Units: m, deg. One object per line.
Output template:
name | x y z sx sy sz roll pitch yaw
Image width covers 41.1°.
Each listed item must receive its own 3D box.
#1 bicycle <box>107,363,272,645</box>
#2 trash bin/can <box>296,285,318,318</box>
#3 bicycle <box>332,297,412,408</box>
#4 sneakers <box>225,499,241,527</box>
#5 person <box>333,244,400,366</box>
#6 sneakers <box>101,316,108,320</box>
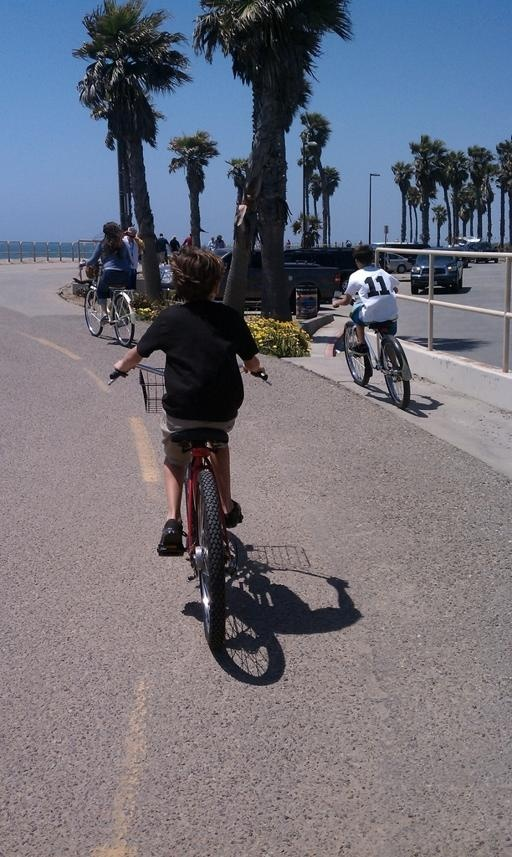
bicycle | -0.310 0.338 3.371 0.533 1.261 1.287 -1 8 -9
trash bin/can | 1.407 -3.563 19.406 0.545 0.891 0.692 2 7 8
bicycle | 1.666 -0.887 9.127 0.682 0.951 1.530 -7 22 -13
sneakers | -0.124 0.457 3.662 0.059 0.173 0.055 1 9 32
person | 1.463 -1.686 8.985 0.808 1.436 0.932 0 7 -4
sneakers | -2.981 -2.167 13.452 0.144 0.101 0.082 4 18 26
